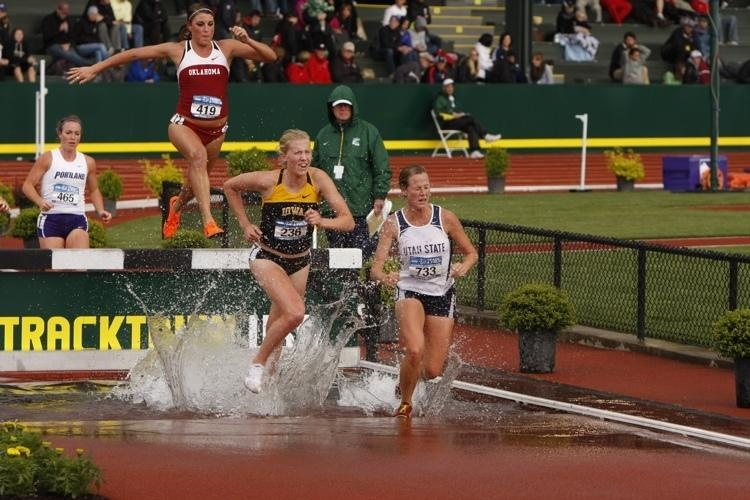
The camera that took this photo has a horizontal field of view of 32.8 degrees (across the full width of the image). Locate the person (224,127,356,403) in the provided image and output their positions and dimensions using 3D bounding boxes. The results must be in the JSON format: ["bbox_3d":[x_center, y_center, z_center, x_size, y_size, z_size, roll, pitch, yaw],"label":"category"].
[{"bbox_3d":[-1.036,0.130,15.351,1.376,3.076,0.915,-6,16,-7],"label":"person"}]

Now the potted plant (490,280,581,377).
[{"bbox_3d":[2.258,1.124,17.691,1.020,1.134,0.609,-2,16,5],"label":"potted plant"}]

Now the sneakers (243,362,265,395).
[{"bbox_3d":[-1.449,1.568,15.312,0.146,0.203,0.364,-37,42,22],"label":"sneakers"}]

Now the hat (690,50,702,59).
[{"bbox_3d":[10.087,-6.117,40.013,0.340,0.304,0.266,-9,57,17],"label":"hat"}]

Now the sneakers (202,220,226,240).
[{"bbox_3d":[-2.044,-0.238,16.200,0.179,0.215,0.479,-20,4,-19],"label":"sneakers"}]

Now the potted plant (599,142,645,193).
[{"bbox_3d":[6.514,-2.115,33.438,1.133,1.407,1.220,2,3,37],"label":"potted plant"}]

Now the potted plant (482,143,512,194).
[{"bbox_3d":[3.116,-2.016,32.509,0.548,1.233,0.909,-2,16,6],"label":"potted plant"}]

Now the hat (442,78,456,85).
[{"bbox_3d":[1.982,-4.585,34.847,0.253,0.111,0.340,-3,9,-9],"label":"hat"}]

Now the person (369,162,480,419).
[{"bbox_3d":[0.537,0.441,15.465,1.333,2.804,0.778,-17,21,-39],"label":"person"}]

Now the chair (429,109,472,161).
[{"bbox_3d":[2.009,-3.242,36.116,1.269,1.702,1.328,0,2,35],"label":"chair"}]

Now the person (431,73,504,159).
[{"bbox_3d":[2.417,-3.688,35.464,1.567,2.209,1.129,-3,16,2],"label":"person"}]

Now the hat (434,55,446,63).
[{"bbox_3d":[1.863,-5.434,36.510,0.254,0.247,0.322,-1,-4,-6],"label":"hat"}]
